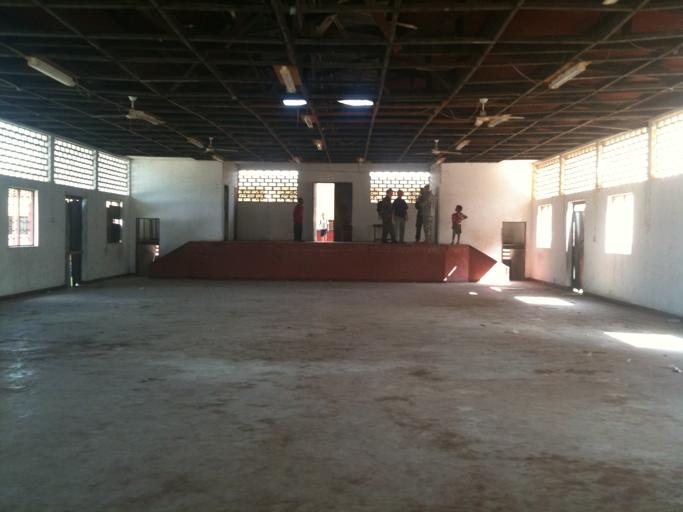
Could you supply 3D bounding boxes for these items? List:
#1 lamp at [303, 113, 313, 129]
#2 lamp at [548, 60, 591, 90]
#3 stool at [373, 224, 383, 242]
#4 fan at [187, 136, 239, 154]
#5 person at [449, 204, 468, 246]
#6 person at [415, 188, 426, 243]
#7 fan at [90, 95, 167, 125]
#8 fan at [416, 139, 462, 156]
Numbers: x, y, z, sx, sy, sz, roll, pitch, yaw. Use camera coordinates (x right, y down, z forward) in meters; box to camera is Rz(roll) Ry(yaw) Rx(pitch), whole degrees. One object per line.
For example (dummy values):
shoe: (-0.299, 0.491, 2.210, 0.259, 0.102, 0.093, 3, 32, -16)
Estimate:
lamp: (-0.757, -3.079, 10.687, 0.226, 0.066, 0.577, 18, 4, 2)
lamp: (3.476, -2.790, 7.229, 0.359, 0.090, 0.366, -31, -12, 34)
stool: (1.371, -0.916, 18.571, 0.555, 0.691, 0.580, 3, 5, 26)
fan: (-3.880, -3.271, 14.115, 1.127, 0.165, 2.656, 2, 3, -1)
person: (3.872, -1.038, 15.568, 0.471, 1.240, 0.716, 3, 4, 19)
person: (2.633, -1.367, 15.808, 0.270, 1.804, 0.612, 2, 3, 7)
fan: (-4.379, -3.083, 9.920, 1.085, 0.575, 0.411, 4, 10, 15)
fan: (3.205, -3.197, 14.204, 0.965, 0.136, 2.740, 3, 4, 11)
